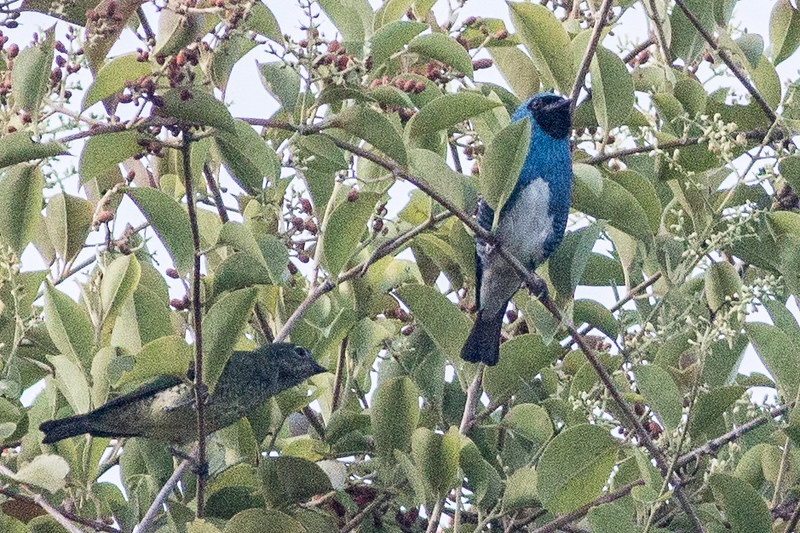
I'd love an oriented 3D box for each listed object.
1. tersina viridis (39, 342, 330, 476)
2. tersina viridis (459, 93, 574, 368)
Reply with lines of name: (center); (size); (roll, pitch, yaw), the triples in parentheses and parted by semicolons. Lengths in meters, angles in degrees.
tersina viridis: (-0.737, 0.440, 5.225); (1.092, 0.460, 0.356); (3, -54, -3)
tersina viridis: (0.396, -0.137, 6.163); (0.405, 1.086, 0.718); (1, 0, 4)
